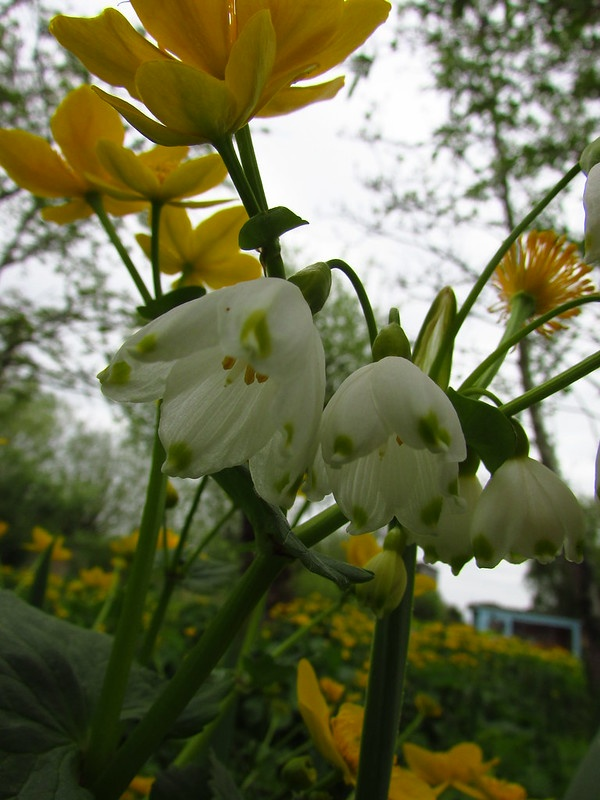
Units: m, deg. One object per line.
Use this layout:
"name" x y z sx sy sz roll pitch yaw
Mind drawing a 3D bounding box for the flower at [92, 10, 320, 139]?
"flower" -0.068 -0.211 0.461 0.105 0.091 0.059 -39 -104 50

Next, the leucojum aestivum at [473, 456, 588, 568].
"leucojum aestivum" 0.190 0.091 0.559 0.087 0.095 0.070 -2 -16 2

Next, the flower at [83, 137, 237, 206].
"flower" -0.171 -0.260 0.761 0.179 0.066 0.158 -10 14 -34

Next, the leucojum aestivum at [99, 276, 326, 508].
"leucojum aestivum" -0.042 -0.012 0.467 0.180 0.080 0.161 22 -55 19
